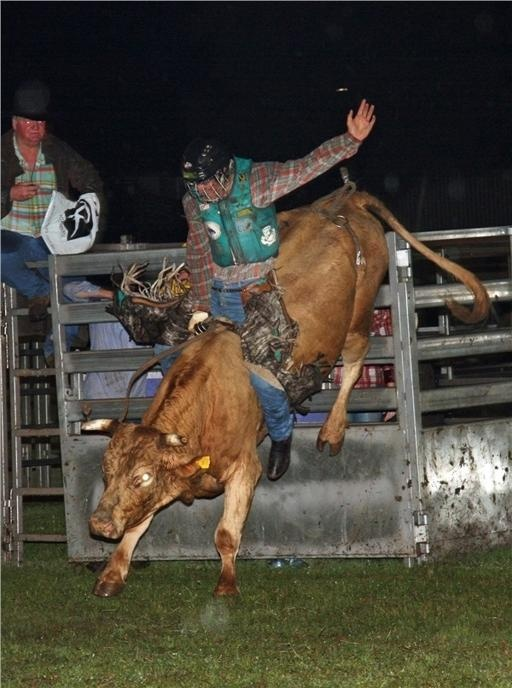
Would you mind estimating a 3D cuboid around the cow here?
[{"bbox_3d":[-0.030,0.212,5.703,2.721,2.144,0.920,-11,12,-42],"label":"cow"}]

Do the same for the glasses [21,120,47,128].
[{"bbox_3d":[-1.534,-1.519,7.089,0.092,0.032,0.088,0,0,-9],"label":"glasses"}]

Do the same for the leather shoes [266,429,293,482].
[{"bbox_3d":[0.137,0.630,5.880,0.128,0.272,0.208,7,-22,16],"label":"leather shoes"}]

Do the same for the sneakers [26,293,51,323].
[{"bbox_3d":[-1.406,-0.236,6.786,0.143,0.154,0.191,3,-12,-25],"label":"sneakers"}]
